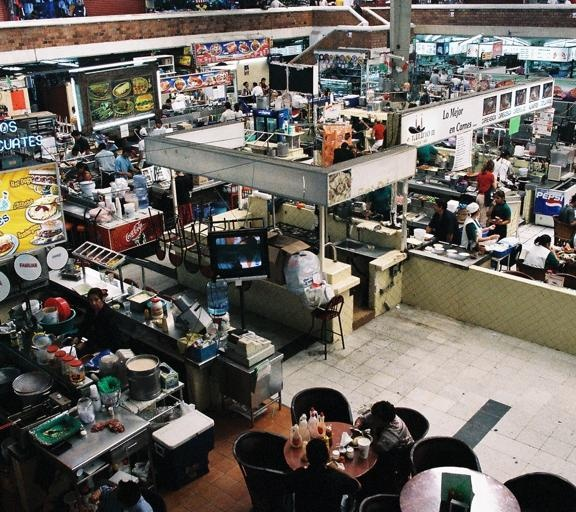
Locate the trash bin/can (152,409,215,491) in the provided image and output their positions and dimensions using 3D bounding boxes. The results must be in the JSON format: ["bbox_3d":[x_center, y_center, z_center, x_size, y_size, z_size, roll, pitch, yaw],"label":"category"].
[{"bbox_3d":[-0.933,1.676,4.438,0.318,0.494,0.549,22,33,37],"label":"trash bin/can"}]

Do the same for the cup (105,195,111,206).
[{"bbox_3d":[-2.838,-0.886,8.018,0.104,0.155,0.103,2,27,-1],"label":"cup"}]

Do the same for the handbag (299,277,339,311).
[{"bbox_3d":[0.366,0.424,6.143,0.343,0.301,0.272,25,36,36],"label":"handbag"}]

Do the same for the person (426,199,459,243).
[{"bbox_3d":[2.234,-0.497,7.326,0.429,0.670,0.277,2,22,17],"label":"person"}]

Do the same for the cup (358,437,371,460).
[{"bbox_3d":[0.582,1.469,3.961,0.137,0.130,0.129,-2,18,1],"label":"cup"}]

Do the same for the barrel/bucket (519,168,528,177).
[{"bbox_3d":[4.683,-1.690,10.187,0.183,0.159,0.170,-1,7,0],"label":"barrel/bucket"}]

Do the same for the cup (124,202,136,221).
[{"bbox_3d":[-2.516,-0.738,8.078,0.182,0.230,0.233,-10,21,-16],"label":"cup"}]

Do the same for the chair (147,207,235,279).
[{"bbox_3d":[-1.388,-0.190,7.537,1.167,0.700,1.110,18,48,19],"label":"chair"}]

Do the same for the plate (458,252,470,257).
[{"bbox_3d":[2.405,-0.036,6.966,0.177,0.021,0.150,-20,25,-40],"label":"plate"}]

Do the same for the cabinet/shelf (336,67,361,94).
[{"bbox_3d":[2.346,-6.727,19.615,1.321,1.177,0.419,19,29,36],"label":"cabinet/shelf"}]

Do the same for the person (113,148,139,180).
[{"bbox_3d":[-3.013,-1.743,9.458,0.426,0.513,0.844,-10,21,-16],"label":"person"}]

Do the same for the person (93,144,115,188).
[{"bbox_3d":[-3.467,-1.680,9.620,0.378,0.986,0.293,-13,48,-28],"label":"person"}]

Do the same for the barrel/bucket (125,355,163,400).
[{"bbox_3d":[-1.228,1.037,4.564,0.362,0.312,0.309,-1,26,-4],"label":"barrel/bucket"}]

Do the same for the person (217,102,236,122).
[{"bbox_3d":[-1.580,-3.749,13.214,0.418,0.454,1.082,-6,20,-6],"label":"person"}]

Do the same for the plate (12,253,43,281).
[{"bbox_3d":[-3.193,0.130,6.250,0.283,0.376,0.121,-15,24,-28],"label":"plate"}]

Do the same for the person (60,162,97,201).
[{"bbox_3d":[-3.772,-1.391,8.982,0.493,0.509,1.155,-12,21,-21],"label":"person"}]

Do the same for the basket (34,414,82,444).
[{"bbox_3d":[-1.808,1.338,3.972,0.194,0.068,0.243,15,27,35],"label":"basket"}]

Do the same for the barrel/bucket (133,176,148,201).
[{"bbox_3d":[-2.412,-1.121,8.343,0.261,0.421,0.128,-19,25,-34],"label":"barrel/bucket"}]

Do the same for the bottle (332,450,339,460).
[{"bbox_3d":[0.366,1.522,3.952,0.050,0.042,0.048,-7,20,-14],"label":"bottle"}]

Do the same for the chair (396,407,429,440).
[{"bbox_3d":[1.061,1.388,4.361,0.259,0.191,0.260,14,43,10],"label":"chair"}]

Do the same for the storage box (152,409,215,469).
[{"bbox_3d":[-0.897,1.477,4.386,0.304,0.352,0.567,20,29,39],"label":"storage box"}]

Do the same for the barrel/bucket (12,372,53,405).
[{"bbox_3d":[-2.231,1.106,4.451,0.298,0.172,0.280,8,21,-3],"label":"barrel/bucket"}]

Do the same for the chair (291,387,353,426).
[{"bbox_3d":[0.298,1.302,4.568,0.414,0.490,0.363,-7,34,-12],"label":"chair"}]

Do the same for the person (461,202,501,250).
[{"bbox_3d":[2.786,-0.422,7.386,0.497,0.476,1.067,5,21,22],"label":"person"}]

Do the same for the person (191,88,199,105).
[{"bbox_3d":[-2.789,-4.814,15.411,0.277,0.376,1.048,-7,20,-8],"label":"person"}]

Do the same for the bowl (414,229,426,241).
[{"bbox_3d":[1.923,-0.340,7.443,0.171,0.169,0.185,-3,20,1],"label":"bowl"}]

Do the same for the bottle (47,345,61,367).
[{"bbox_3d":[-2.169,0.915,4.719,0.124,0.162,0.115,6,29,-3],"label":"bottle"}]

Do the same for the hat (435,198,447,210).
[{"bbox_3d":[2.161,-0.735,7.209,0.147,0.173,0.180,0,-2,-32],"label":"hat"}]

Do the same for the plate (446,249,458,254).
[{"bbox_3d":[2.256,-0.074,7.029,0.138,0.026,0.189,1,20,13],"label":"plate"}]

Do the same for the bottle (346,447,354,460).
[{"bbox_3d":[0.478,1.511,3.958,0.074,0.070,0.078,-2,5,1],"label":"bottle"}]

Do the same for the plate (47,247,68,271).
[{"bbox_3d":[-2.934,0.027,6.465,0.264,0.352,0.200,-10,21,-15],"label":"plate"}]

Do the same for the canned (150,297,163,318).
[{"bbox_3d":[-1.391,0.540,5.387,0.137,0.214,0.135,-9,20,-36],"label":"canned"}]
